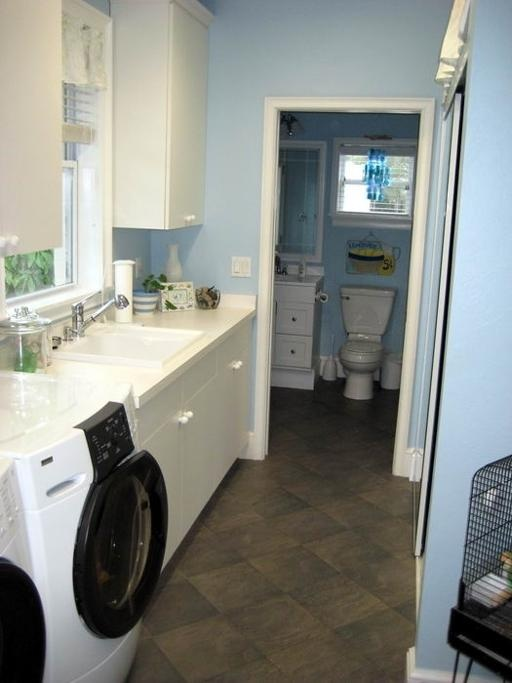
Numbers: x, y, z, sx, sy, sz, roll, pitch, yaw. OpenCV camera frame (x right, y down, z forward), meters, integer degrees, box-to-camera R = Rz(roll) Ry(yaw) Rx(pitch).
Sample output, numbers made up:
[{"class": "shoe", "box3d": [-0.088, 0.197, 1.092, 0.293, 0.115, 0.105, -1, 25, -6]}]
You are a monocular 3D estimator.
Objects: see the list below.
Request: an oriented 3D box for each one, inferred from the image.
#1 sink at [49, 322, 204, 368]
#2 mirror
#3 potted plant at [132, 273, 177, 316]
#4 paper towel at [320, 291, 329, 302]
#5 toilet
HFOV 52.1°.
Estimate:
[{"class": "sink", "box3d": [-0.539, 0.009, 2.326, 0.256, 0.089, 0.283, 5, 20, 11]}, {"class": "mirror", "box3d": [0.433, -1.289, 4.995, 0.040, 1.122, 0.513, 16, 25, 42]}, {"class": "potted plant", "box3d": [-0.566, -0.264, 2.883, 0.218, 0.235, 0.190, -1, 5, -12]}, {"class": "paper towel", "box3d": [0.621, -0.408, 4.772, 0.062, 0.120, 0.103, 5, 1, -6]}, {"class": "toilet", "box3d": [0.955, -0.013, 4.696, 0.488, 0.917, 0.741, 4, 10, 18]}]
